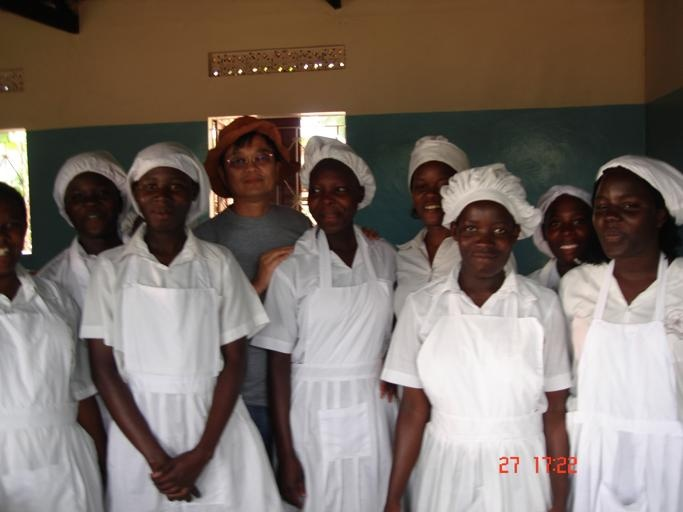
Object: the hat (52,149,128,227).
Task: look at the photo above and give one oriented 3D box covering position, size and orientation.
[{"bbox_3d":[-1.389,-0.424,3.780,0.386,0.438,0.192,0,20,-13],"label":"hat"}]
